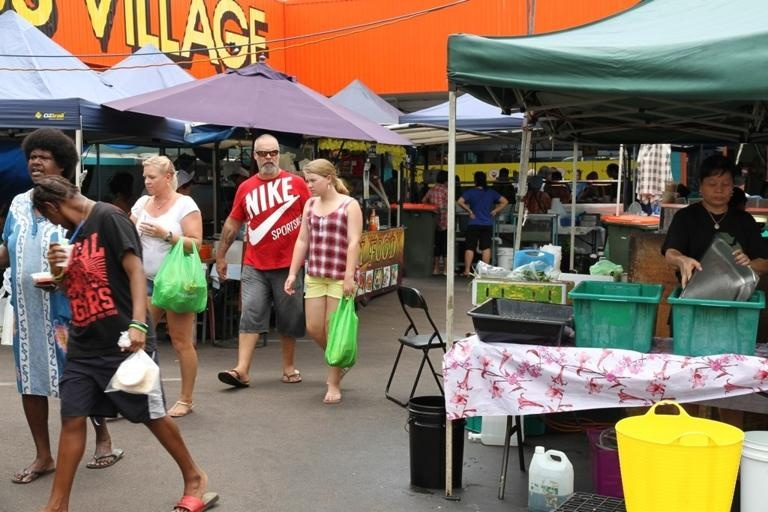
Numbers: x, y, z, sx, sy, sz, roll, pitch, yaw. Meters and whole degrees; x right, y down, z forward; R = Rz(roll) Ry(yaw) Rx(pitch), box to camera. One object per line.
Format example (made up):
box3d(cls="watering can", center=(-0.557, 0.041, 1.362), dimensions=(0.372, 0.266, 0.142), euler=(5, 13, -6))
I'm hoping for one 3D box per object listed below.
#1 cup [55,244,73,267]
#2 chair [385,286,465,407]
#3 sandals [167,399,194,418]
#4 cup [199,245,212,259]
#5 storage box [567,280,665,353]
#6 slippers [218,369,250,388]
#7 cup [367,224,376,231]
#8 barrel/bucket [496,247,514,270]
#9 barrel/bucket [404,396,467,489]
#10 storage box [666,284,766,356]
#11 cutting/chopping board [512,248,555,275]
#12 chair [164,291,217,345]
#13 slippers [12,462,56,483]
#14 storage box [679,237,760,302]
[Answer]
box3d(cls="cup", center=(-2.277, -0.012, 5.643), dimensions=(0.150, 0.131, 0.118), euler=(11, -11, -41))
box3d(cls="chair", center=(0.445, 0.891, 8.187), dimensions=(0.775, 1.125, 0.718), euler=(1, 6, -8))
box3d(cls="sandals", center=(-1.893, 1.437, 7.508), dimensions=(0.129, 0.082, 0.216), euler=(-3, -7, 14))
box3d(cls="cup", center=(-2.143, -0.059, 9.690), dimensions=(0.163, 0.109, 0.159), euler=(-1, -5, 0))
box3d(cls="storage box", center=(1.745, 0.436, 5.996), dimensions=(0.662, 0.387, 0.543), euler=(1, 10, 21))
box3d(cls="slippers", center=(-1.527, 1.256, 8.268), dimensions=(0.140, 0.105, 0.353), euler=(-2, -24, 26))
box3d(cls="cup", center=(-0.164, -0.459, 12.781), dimensions=(0.106, 0.095, 0.103), euler=(2, 8, 0))
box3d(cls="barrel/bucket", center=(1.657, 0.033, 11.002), dimensions=(0.303, 0.279, 0.300), euler=(1, 3, 0))
box3d(cls="barrel/bucket", center=(0.433, 1.426, 6.363), dimensions=(0.509, 0.720, 0.525), euler=(-1, -18, 0))
box3d(cls="storage box", center=(2.308, 0.475, 5.633), dimensions=(0.573, 0.348, 0.411), euler=(-1, -2, 19))
box3d(cls="cutting/chopping board", center=(1.417, 0.035, 7.542), dimensions=(0.255, 0.107, 0.253), euler=(4, 8, 35))
box3d(cls="chair", center=(-2.402, 0.774, 10.284), dimensions=(0.452, 0.702, 0.430), euler=(1, 3, -29))
box3d(cls="slippers", center=(-2.720, 1.698, 6.297), dimensions=(0.111, 0.064, 0.285), euler=(5, 7, 40))
box3d(cls="storage box", center=(2.408, 0.094, 5.801), dimensions=(0.458, 0.419, 0.451), euler=(-1, -1, 13))
